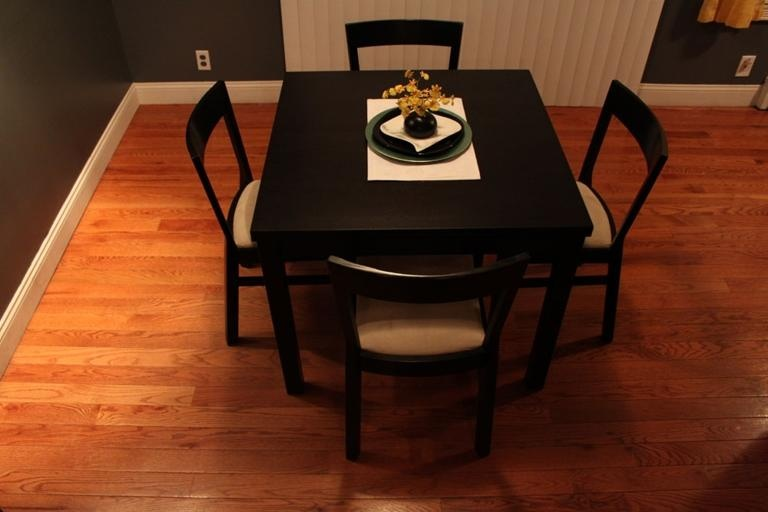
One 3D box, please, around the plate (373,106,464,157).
[{"bbox_3d":[0.197,-0.585,2.744,0.310,0.321,0.055,9,82,-10],"label":"plate"}]
